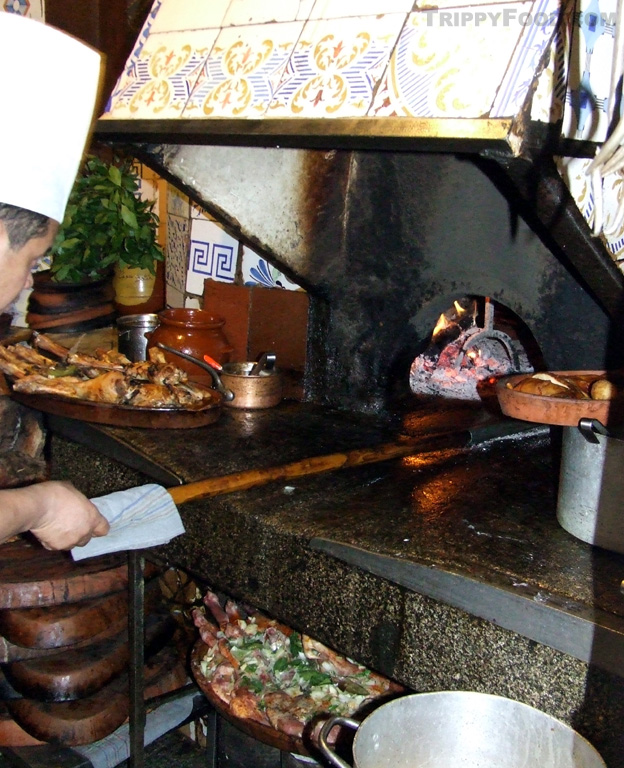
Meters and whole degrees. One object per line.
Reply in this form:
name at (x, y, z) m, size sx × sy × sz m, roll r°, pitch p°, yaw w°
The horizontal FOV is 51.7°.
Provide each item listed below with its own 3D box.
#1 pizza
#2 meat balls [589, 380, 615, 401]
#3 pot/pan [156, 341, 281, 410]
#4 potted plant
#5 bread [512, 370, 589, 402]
pizza at (-0.073, 0.511, 1.244) m, size 0.271 × 0.056 × 0.249 m, roll 20°, pitch 1°, yaw 44°
meat balls at (0.457, 0.009, 1.016) m, size 0.036 × 0.031 × 0.019 m, roll -23°, pitch -36°, yaw 23°
pot/pan at (-0.307, -0.037, 1.973) m, size 0.404 × 0.164 × 0.180 m, roll 5°, pitch 16°, yaw -1°
potted plant at (-0.842, -0.697, 2.713) m, size 0.339 × 0.399 × 0.323 m, roll 7°, pitch -9°, yaw -20°
bread at (0.396, -0.007, 1.061) m, size 0.071 × 0.022 × 0.065 m, roll 9°, pitch 9°, yaw -7°
